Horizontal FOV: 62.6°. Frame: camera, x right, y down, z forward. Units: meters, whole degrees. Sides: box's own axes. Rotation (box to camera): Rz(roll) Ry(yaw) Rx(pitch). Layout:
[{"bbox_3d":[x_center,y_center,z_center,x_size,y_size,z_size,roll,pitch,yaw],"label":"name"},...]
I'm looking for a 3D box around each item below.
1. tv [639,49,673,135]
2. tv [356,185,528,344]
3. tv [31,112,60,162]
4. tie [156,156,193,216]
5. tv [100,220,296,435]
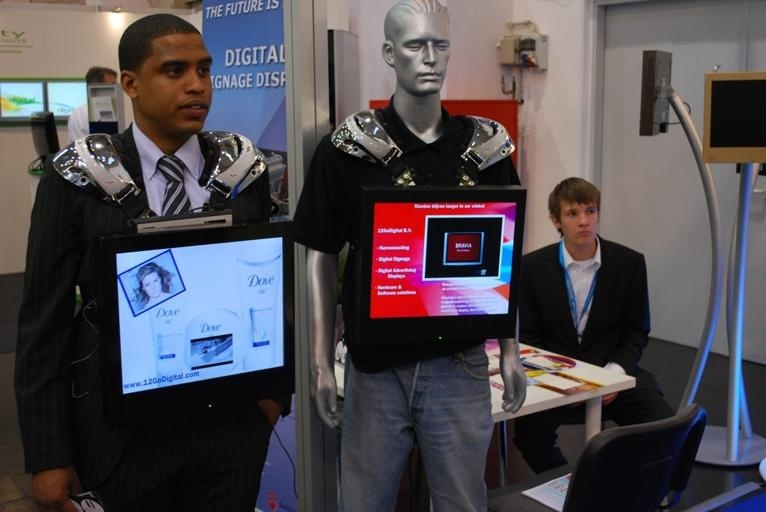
[{"bbox_3d":[1.558,-0.926,3.566,0.159,0.473,0.261,3,12,23],"label":"tv"},{"bbox_3d":[0.159,0.019,1.834,0.403,0.429,0.073,0,7,-10],"label":"tv"},{"bbox_3d":[-2.762,-0.888,5.056,0.234,0.493,0.157,7,13,27],"label":"tv"},{"bbox_3d":[-0.570,-0.192,1.698,0.087,0.173,0.041,14,-10,-10],"label":"tie"},{"bbox_3d":[-0.492,0.166,1.592,0.468,0.499,0.054,-5,7,-25],"label":"tv"}]
